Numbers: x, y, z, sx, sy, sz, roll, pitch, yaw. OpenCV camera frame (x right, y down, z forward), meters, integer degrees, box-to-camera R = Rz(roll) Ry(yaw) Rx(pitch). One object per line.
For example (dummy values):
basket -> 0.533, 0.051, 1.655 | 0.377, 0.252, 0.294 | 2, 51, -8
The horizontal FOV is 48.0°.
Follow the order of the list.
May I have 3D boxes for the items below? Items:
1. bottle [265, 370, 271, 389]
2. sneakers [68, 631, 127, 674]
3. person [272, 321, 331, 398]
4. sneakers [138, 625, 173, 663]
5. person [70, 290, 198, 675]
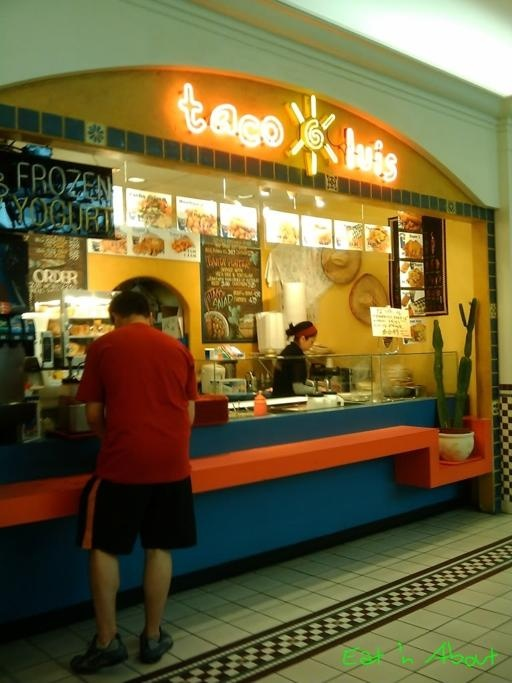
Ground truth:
bottle -> 0.086, 0.279, 4.134 | 0.035, 0.114, 0.122 | 0, -6, -17
sneakers -> -0.659, 1.266, 2.401 | 0.228, 0.125, 0.112 | -2, -1, -27
person -> 0.322, 0.280, 4.357 | 0.410, 0.814, 0.427 | -2, 1, 18
sneakers -> -0.439, 1.297, 2.478 | 0.077, 0.073, 0.179 | -1, 0, 14
person -> -0.495, 0.627, 2.411 | 0.528, 1.437, 0.303 | 1, -6, -18
